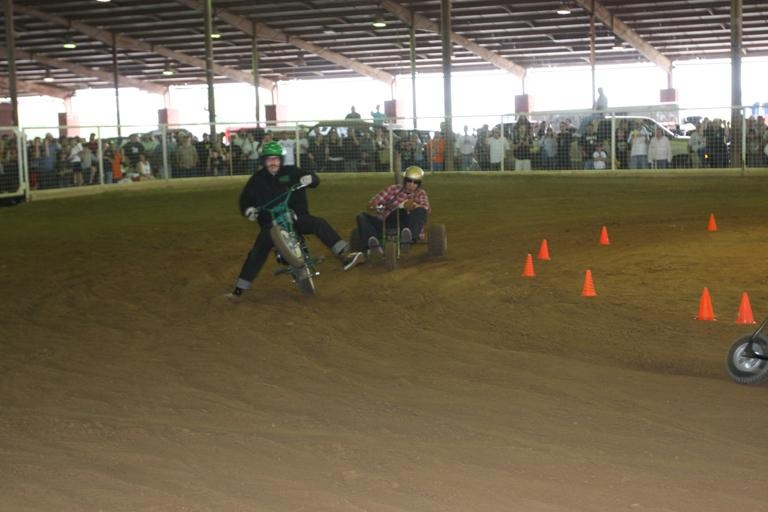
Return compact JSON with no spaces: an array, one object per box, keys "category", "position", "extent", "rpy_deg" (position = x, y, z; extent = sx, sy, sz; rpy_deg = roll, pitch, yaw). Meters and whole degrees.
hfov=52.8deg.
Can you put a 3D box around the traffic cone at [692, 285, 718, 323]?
[{"category":"traffic cone","position":[3.463,0.536,8.422],"extent":[0.273,0.448,0.314],"rpy_deg":[-4,1,-8]}]

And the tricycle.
[{"category":"tricycle","position":[0.252,-0.294,11.717],"extent":[1.331,0.946,1.749],"rpy_deg":[-6,3,9]}]

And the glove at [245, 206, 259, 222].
[{"category":"glove","position":[-1.596,-0.510,9.361],"extent":[0.122,0.171,0.163],"rpy_deg":[2,-5,-10]}]

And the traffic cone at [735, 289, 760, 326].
[{"category":"traffic cone","position":[3.961,0.560,8.300],"extent":[0.283,0.443,0.303],"rpy_deg":[-3,0,4]}]

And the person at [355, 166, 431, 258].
[{"category":"person","position":[0.160,-0.729,11.330],"extent":[0.976,1.328,1.827],"rpy_deg":[2,5,2]}]

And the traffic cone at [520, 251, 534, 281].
[{"category":"traffic cone","position":[1.995,0.150,10.656],"extent":[0.268,0.462,0.259],"rpy_deg":[0,10,8]}]

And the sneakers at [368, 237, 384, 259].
[{"category":"sneakers","position":[-0.112,-0.129,11.103],"extent":[0.117,0.396,0.252],"rpy_deg":[-2,3,6]}]

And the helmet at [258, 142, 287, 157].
[{"category":"helmet","position":[-1.371,-1.319,9.610],"extent":[0.269,0.167,0.407],"rpy_deg":[0,9,-4]}]

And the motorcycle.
[{"category":"motorcycle","position":[-1.174,-0.195,9.741],"extent":[0.697,1.433,1.096],"rpy_deg":[-3,13,-10]}]
